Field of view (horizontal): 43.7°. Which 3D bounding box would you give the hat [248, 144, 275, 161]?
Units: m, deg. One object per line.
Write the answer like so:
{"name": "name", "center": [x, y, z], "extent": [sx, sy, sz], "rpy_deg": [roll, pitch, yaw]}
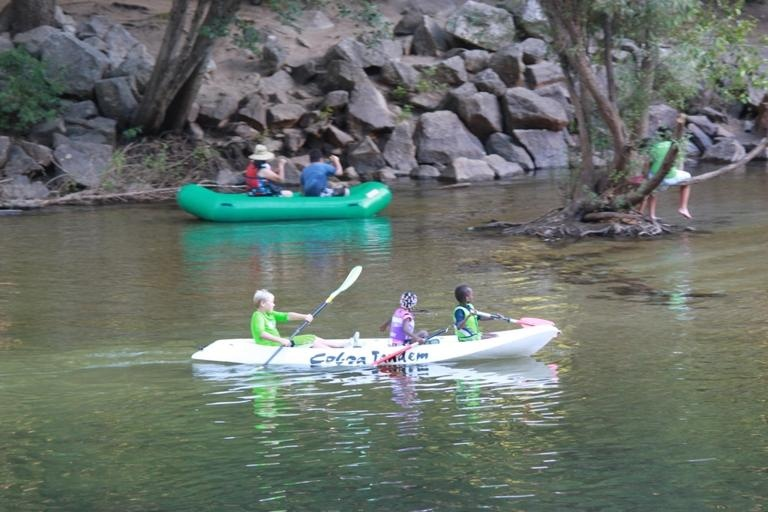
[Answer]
{"name": "hat", "center": [-2.855, -2.395, 22.333], "extent": [0.475, 0.375, 0.819], "rpy_deg": [-3, 0, -4]}

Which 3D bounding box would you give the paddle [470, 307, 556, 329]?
{"name": "paddle", "center": [1.828, 0.898, 13.676], "extent": [1.641, 0.114, 0.228], "rpy_deg": [6, -13, 1]}

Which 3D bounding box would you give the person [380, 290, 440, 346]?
{"name": "person", "center": [0.364, 0.910, 13.613], "extent": [0.579, 0.638, 0.734], "rpy_deg": [-18, 38, -42]}

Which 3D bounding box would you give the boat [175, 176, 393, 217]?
{"name": "boat", "center": [-2.346, -1.289, 21.979], "extent": [4.232, 0.420, 1.359], "rpy_deg": [0, -2, -7]}

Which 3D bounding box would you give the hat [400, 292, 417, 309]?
{"name": "hat", "center": [0.323, 0.601, 12.944], "extent": [0.200, 0.213, 0.240], "rpy_deg": [-4, 0, -3]}
